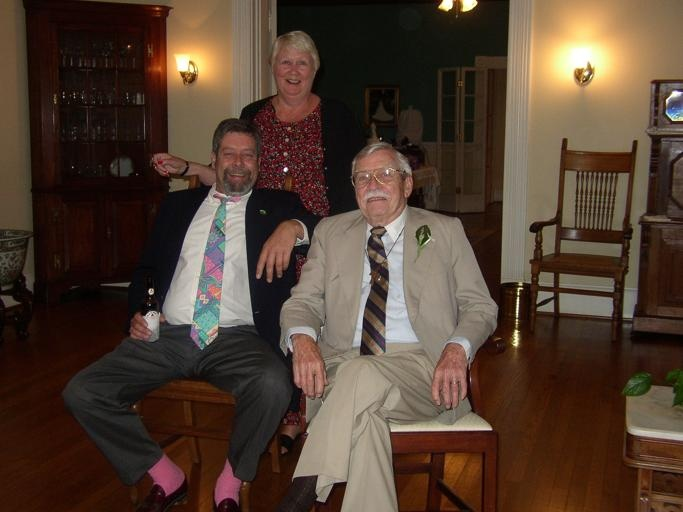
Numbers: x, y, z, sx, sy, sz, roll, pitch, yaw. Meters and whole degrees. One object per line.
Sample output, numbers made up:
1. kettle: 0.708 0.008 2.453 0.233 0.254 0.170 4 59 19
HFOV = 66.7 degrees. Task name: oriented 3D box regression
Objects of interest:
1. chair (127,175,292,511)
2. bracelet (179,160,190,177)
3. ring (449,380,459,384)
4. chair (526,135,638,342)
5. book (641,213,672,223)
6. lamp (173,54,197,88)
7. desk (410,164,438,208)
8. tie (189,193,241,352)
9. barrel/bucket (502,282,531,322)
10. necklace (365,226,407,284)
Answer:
1. chair: -0.640 0.509 2.411 0.784 1.296 0.728 2 12 18
2. bracelet: -0.882 -0.504 2.908 0.018 0.068 0.070 2 -5 -6
3. ring: 0.398 0.450 1.843 0.019 0.010 0.026 1 2 9
4. chair: 2.380 -0.184 4.992 0.789 1.814 0.912 -13 16 -42
5. book: 2.843 -0.330 4.672 0.284 0.075 0.189 4 12 25
6. lamp: -1.685 -2.050 5.717 0.305 0.392 0.254 6 13 15
7. desk: 1.367 -1.178 9.145 0.786 0.685 0.817 0 7 13
8. tie: -0.605 0.098 2.399 0.112 0.653 0.052 5 -18 -1
9. barrel/bucket: 1.775 0.446 5.270 0.326 0.371 0.336 -2 6 0
10. necklace: 0.184 0.004 2.163 0.148 0.220 0.056 1 -10 9
